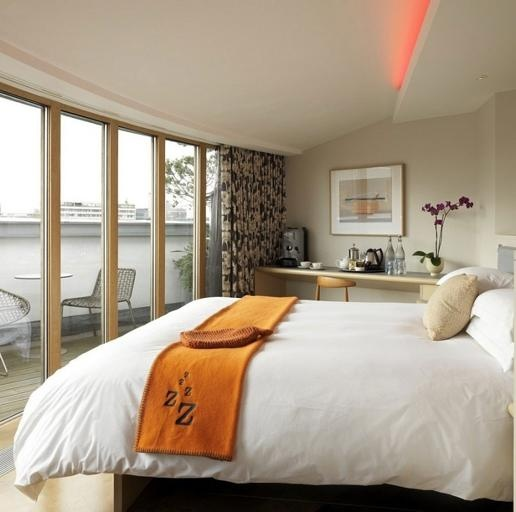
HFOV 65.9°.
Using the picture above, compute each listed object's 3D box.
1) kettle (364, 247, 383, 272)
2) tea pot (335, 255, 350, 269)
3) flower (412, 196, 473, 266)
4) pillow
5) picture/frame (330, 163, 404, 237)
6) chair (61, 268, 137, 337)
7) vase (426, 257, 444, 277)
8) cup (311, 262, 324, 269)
[{"bbox_3d":[1.325,0.046,4.510,0.288,0.293,0.204,1,-4,-29],"label":"kettle"},{"bbox_3d":[0.994,0.094,4.734,0.169,0.124,0.118,1,0,28],"label":"tea pot"},{"bbox_3d":[1.914,-0.217,4.274,0.530,0.749,0.588,4,1,-5],"label":"flower"},{"bbox_3d":[1.074,0.266,1.852,0.115,0.405,0.425,31,3,-7],"label":"pillow"},{"bbox_3d":[1.344,-0.674,4.782,0.889,0.797,0.067,2,4,40],"label":"picture/frame"},{"bbox_3d":[-1.371,0.359,3.567,0.444,0.724,0.523,0,-5,26],"label":"chair"},{"bbox_3d":[1.805,0.105,4.128,0.175,0.179,0.184,0,-1,-4],"label":"vase"},{"bbox_3d":[0.732,0.124,4.829,0.100,0.046,0.080,6,-8,-40],"label":"cup"}]
